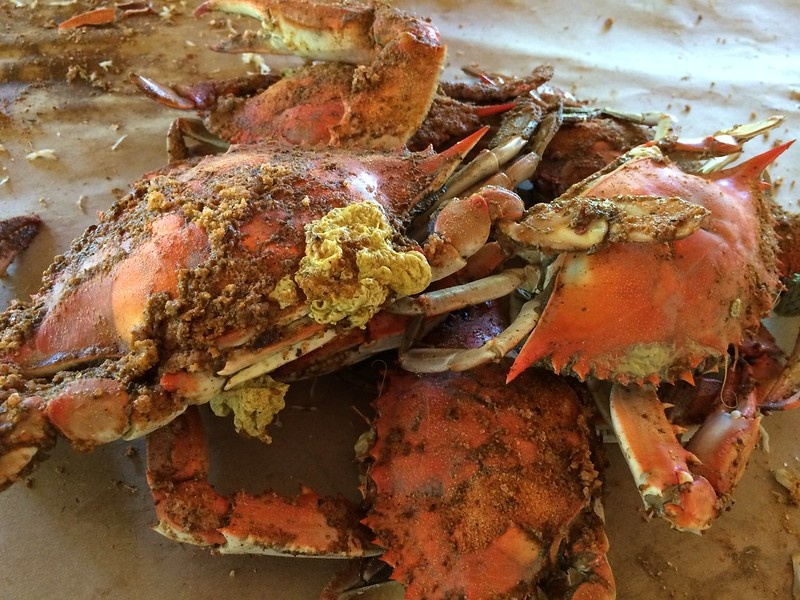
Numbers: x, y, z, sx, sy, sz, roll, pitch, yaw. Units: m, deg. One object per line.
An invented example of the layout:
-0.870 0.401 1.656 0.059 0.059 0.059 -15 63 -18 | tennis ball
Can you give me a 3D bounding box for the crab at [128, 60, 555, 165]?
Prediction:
-0.203 -0.758 3.652 0.851 0.750 0.185 -13 108 -20 | crab
